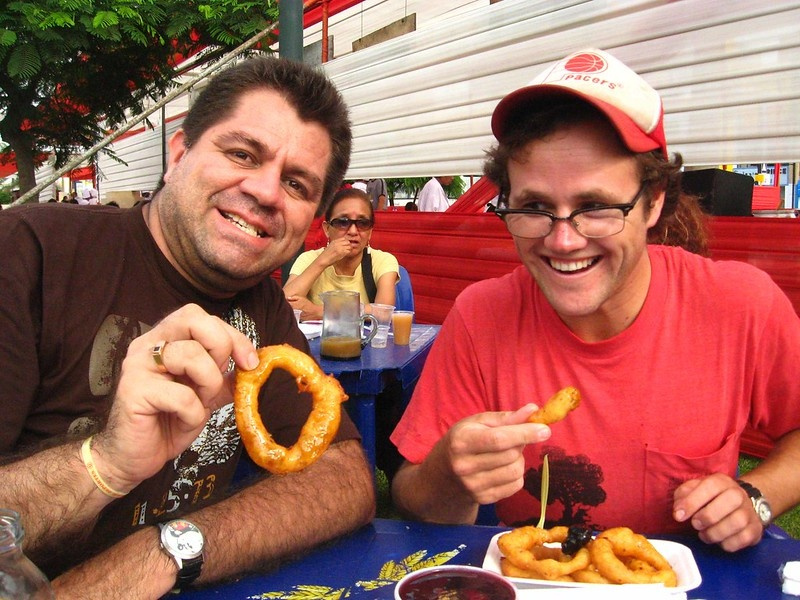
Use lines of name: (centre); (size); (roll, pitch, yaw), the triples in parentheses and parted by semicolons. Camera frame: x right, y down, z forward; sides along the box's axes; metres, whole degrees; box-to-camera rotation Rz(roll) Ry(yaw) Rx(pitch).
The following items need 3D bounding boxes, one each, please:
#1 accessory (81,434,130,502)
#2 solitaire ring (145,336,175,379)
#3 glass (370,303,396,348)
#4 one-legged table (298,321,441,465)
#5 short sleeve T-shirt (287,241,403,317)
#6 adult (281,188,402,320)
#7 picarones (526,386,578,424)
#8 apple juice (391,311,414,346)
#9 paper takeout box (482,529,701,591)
accessory: (-0.910, 0.511, 1.669); (0.117, 0.179, 0.070); (6, 15, 26)
solitaire ring: (-0.696, 0.165, 1.663); (0.079, 0.078, 0.078); (1, -31, 1)
glass: (-0.133, 0.193, 4.122); (0.274, 0.343, 0.266); (2, -14, 1)
one-legged table: (-0.127, 0.394, 3.577); (0.850, 0.613, 1.268); (1, 9, 9)
short sleeve T-shirt: (-0.581, -0.164, 5.578); (1.144, 0.932, 1.488); (-1, 11, -11)
adult: (-0.529, -0.474, 5.554); (1.213, 1.942, 1.310); (2, 10, -3)
picarones: (0.533, 0.356, 1.867); (0.070, 0.111, 0.210); (34, -26, -3)
apple juice: (0.018, 0.197, 3.921); (0.213, 0.252, 0.225); (3, 1, 15)
paper takeout box: (0.642, 0.782, 1.643); (0.364, 0.058, 0.242); (-1, 3, 13)
